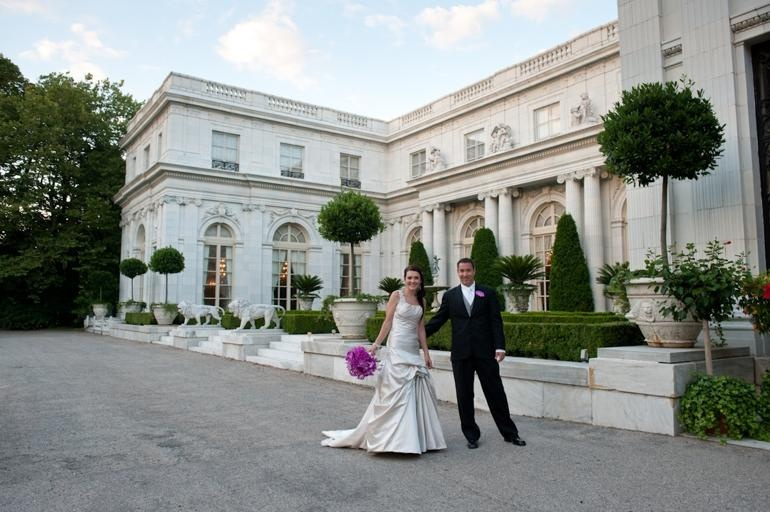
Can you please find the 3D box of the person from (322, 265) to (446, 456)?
[{"bbox_3d":[0.134,1.473,8.641,1.486,2.625,0.860,0,3,5],"label":"person"}]

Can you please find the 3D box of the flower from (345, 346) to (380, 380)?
[{"bbox_3d":[-0.346,1.561,8.913,0.484,0.367,0.406,11,23,30],"label":"flower"}]

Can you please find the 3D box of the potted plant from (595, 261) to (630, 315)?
[{"bbox_3d":[6.090,0.970,16.571,0.793,1.278,0.881,-18,-17,10],"label":"potted plant"}]

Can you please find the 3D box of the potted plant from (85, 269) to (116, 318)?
[{"bbox_3d":[-14.834,1.924,31.615,1.301,2.504,2.380,-2,4,-25],"label":"potted plant"}]

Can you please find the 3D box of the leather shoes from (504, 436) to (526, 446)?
[{"bbox_3d":[1.915,2.722,8.896,0.271,0.127,0.116,-9,-4,43],"label":"leather shoes"}]

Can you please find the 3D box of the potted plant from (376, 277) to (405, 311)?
[{"bbox_3d":[0.107,1.343,21.978,1.041,1.298,1.067,0,0,-29],"label":"potted plant"}]

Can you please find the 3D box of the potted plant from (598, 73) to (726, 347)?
[{"bbox_3d":[5.097,-1.631,11.157,2.128,3.528,1.646,0,3,11],"label":"potted plant"}]

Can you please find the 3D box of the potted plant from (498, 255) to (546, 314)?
[{"bbox_3d":[4.539,0.861,19.541,1.725,2.345,1.834,1,-2,-4],"label":"potted plant"}]

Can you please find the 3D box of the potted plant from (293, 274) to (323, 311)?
[{"bbox_3d":[-3.198,1.464,24.432,1.114,1.823,1.156,6,12,2],"label":"potted plant"}]

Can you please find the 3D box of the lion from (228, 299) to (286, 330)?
[{"bbox_3d":[-4.220,1.892,19.757,1.409,1.185,2.129,-1,3,-7],"label":"lion"}]

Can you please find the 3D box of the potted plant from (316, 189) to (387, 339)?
[{"bbox_3d":[-1.206,-0.562,20.846,2.051,3.420,2.290,-3,-8,-14],"label":"potted plant"}]

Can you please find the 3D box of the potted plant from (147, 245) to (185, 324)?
[{"bbox_3d":[-9.146,1.142,25.142,1.402,3.206,1.641,2,2,6],"label":"potted plant"}]
